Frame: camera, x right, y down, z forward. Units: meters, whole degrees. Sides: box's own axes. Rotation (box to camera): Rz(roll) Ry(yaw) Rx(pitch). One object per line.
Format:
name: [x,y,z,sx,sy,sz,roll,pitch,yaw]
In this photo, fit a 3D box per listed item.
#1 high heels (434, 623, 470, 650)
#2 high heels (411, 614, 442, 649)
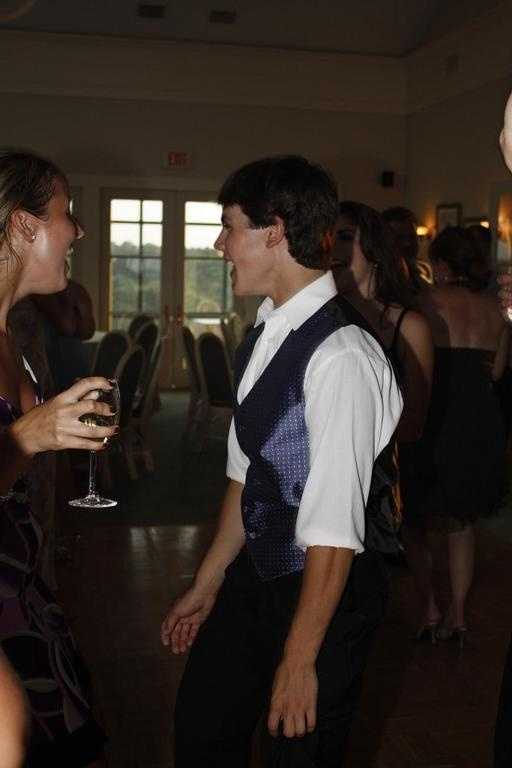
high heels: [0.719,0.909,2.290,0.108,0.071,0.108,6,8,23]
high heels: [0.635,0.913,2.298,0.048,0.125,0.052,7,-12,13]
